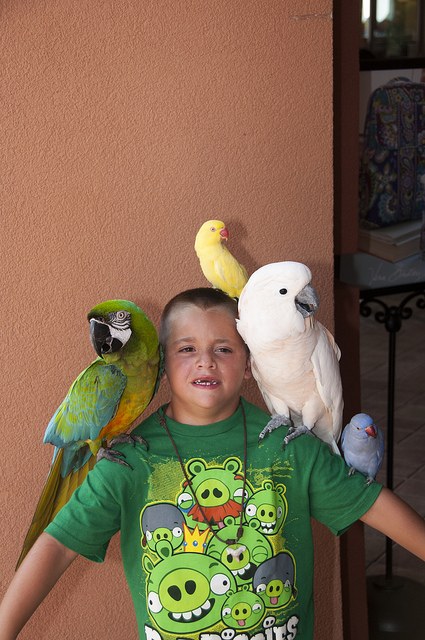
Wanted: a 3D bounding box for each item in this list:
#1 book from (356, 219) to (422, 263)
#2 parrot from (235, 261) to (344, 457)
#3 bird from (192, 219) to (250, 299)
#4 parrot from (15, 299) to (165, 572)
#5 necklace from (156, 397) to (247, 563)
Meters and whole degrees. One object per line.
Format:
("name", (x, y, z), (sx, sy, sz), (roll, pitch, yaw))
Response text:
("book", (0.348, -0.170, 1.198), (0.104, 0.029, 0.100), (-17, 22, -38))
("parrot", (0.113, 0.079, 0.854), (0.125, 0.346, 0.162), (-4, 19, 16))
("bird", (0.020, -0.081, 0.883), (0.105, 0.129, 0.062), (-3, 24, -22))
("parrot", (-0.171, 0.161, 0.824), (0.178, 0.379, 0.122), (1, 6, 7))
("necklace", (0.022, 0.199, 0.827), (0.216, 0.152, 0.179), (-4, 15, 2))
